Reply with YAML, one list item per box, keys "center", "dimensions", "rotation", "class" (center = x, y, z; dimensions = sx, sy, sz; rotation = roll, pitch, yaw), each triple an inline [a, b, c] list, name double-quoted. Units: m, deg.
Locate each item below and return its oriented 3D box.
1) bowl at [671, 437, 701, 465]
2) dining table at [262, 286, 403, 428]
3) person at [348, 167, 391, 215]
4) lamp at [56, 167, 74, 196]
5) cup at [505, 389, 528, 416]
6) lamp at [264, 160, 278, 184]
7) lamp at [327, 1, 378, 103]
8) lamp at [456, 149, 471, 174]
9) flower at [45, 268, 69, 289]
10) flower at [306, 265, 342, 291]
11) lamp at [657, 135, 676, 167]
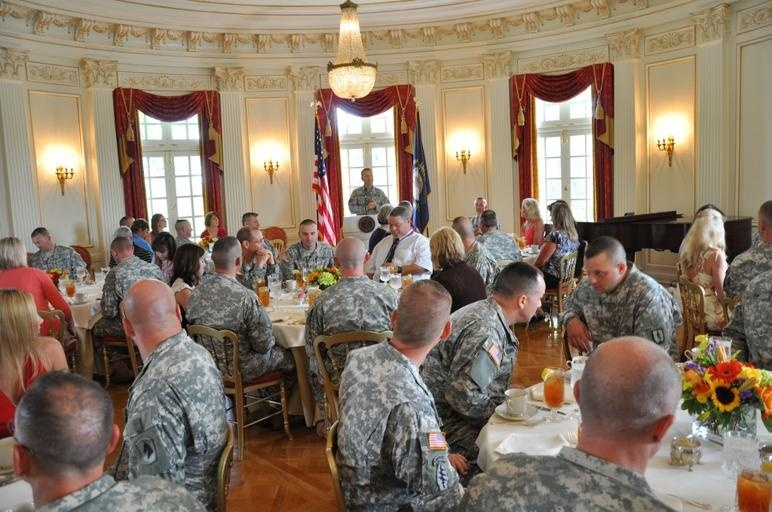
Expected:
- center: [1.452, 0.944, 2.882]
  dimensions: [0.103, 0.107, 0.138]
  rotation: [0, -5, 1]
  class: "bowl"
- center: [-0.690, 0.865, 5.582]
  dimensions: [1.149, 0.900, 1.175]
  rotation: [-1, 1, -10]
  class: "dining table"
- center: [-0.354, -1.061, 9.600]
  dimensions: [0.762, 1.114, 0.664]
  rotation: [-2, 4, -10]
  class: "person"
- center: [-4.763, -1.114, 8.766]
  dimensions: [0.104, 0.416, 0.263]
  rotation: [0, 8, 25]
  class: "lamp"
- center: [0.713, 0.798, 3.228]
  dimensions: [0.106, 0.108, 0.137]
  rotation: [0, -8, 4]
  class: "cup"
- center: [-1.985, -1.443, 10.267]
  dimensions: [0.251, 0.402, 0.080]
  rotation: [-7, 8, -29]
  class: "lamp"
- center: [-0.425, -2.410, 6.901]
  dimensions: [0.473, 1.076, 0.466]
  rotation: [3, 10, 42]
  class: "lamp"
- center: [1.329, -1.622, 10.240]
  dimensions: [0.269, 0.411, 0.128]
  rotation: [-2, 7, 12]
  class: "lamp"
- center: [-3.702, 0.237, 6.661]
  dimensions: [0.254, 0.151, 0.262]
  rotation: [1, -9, 1]
  class: "flower"
- center: [-0.621, 0.250, 5.736]
  dimensions: [0.262, 0.174, 0.268]
  rotation: [-5, 12, 32]
  class: "flower"
- center: [4.087, -1.507, 8.612]
  dimensions: [0.073, 0.440, 0.239]
  rotation: [-7, 8, -28]
  class: "lamp"
